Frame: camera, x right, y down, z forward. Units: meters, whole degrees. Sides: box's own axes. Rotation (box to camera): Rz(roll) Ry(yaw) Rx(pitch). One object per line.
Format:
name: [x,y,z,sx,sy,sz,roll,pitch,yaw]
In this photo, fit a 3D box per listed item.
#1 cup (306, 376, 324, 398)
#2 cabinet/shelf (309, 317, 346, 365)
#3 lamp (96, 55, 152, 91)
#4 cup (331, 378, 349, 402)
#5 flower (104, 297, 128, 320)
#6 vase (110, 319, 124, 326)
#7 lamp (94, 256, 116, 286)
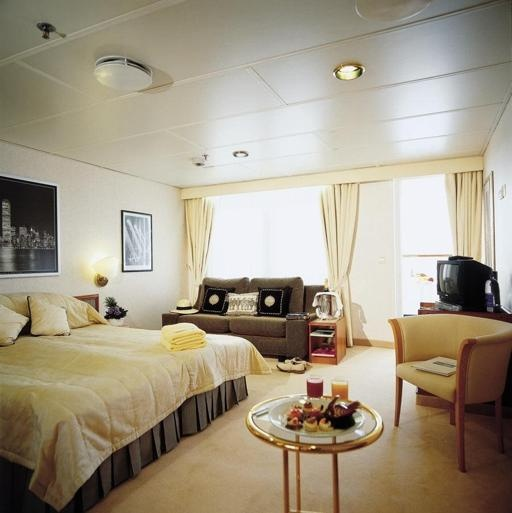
cup: [0.319,0.715,2.191,0.085,0.105,0.096,0,0,2]
cabinet/shelf: [0.889,1.055,5.064,0.399,0.508,0.613,-1,0,20]
lamp: [-0.890,-1.215,2.667,0.386,0.164,0.268,-1,0,-25]
cup: [0.438,0.704,2.111,0.083,0.178,0.085,0,-6,0]
flower: [-1.842,0.692,5.160,0.244,0.301,0.251,9,-17,-37]
vase: [-1.796,0.837,5.076,0.106,0.099,0.120,1,-6,0]
lamp: [-1.988,0.221,5.186,0.273,0.349,0.449,-1,0,-24]
